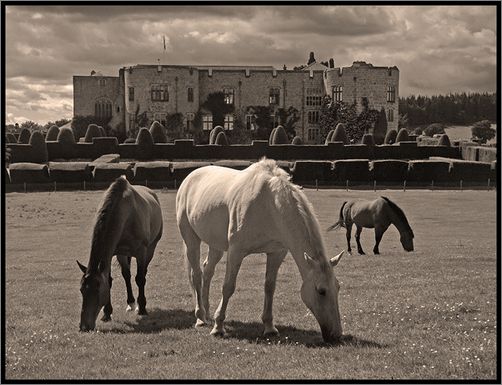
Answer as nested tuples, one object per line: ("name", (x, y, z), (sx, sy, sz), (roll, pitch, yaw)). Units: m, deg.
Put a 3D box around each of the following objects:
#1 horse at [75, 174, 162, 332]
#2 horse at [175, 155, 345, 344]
("horse", (-2.980, 1.240, 18.738), (1.301, 3.481, 5.086), (1, 5, 8))
("horse", (-0.162, 1.252, 17.629), (1.627, 4.023, 6.008), (-3, 6, -36))
